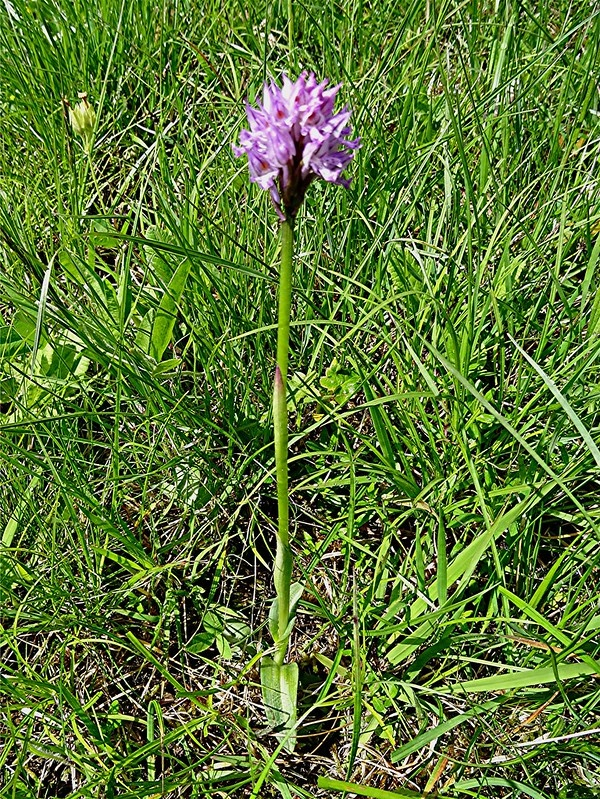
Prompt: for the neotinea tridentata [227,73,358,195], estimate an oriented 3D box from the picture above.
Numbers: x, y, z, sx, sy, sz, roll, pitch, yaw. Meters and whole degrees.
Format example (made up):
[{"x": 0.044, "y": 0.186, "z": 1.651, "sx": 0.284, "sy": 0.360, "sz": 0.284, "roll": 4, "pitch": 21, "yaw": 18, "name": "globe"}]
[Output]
[{"x": -0.001, "y": -0.309, "z": 0.886, "sx": 0.127, "sy": 0.142, "sz": 0.156, "roll": 4, "pitch": 80, "yaw": -2, "name": "neotinea tridentata"}]
